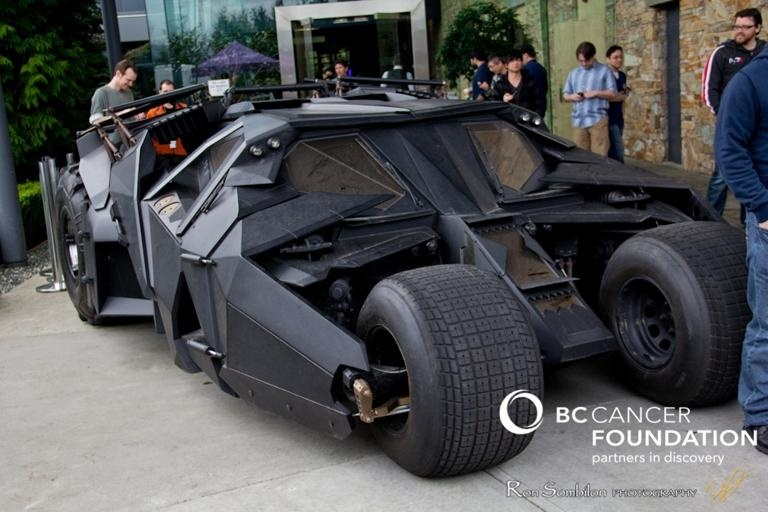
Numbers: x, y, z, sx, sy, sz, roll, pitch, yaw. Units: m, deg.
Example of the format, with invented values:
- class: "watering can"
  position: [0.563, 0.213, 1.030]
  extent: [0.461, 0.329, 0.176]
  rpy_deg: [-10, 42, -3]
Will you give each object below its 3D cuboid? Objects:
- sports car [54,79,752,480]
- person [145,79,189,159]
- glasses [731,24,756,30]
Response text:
- class: "sports car"
  position: [-0.100, -0.045, 5.053]
  extent: [2.844, 1.537, 4.286]
  rpy_deg: [-8, 15, -34]
- class: "person"
  position: [-2.301, -1.381, 6.674]
  extent: [0.368, 0.942, 0.319]
  rpy_deg: [-14, 38, -26]
- class: "glasses"
  position: [4.165, -2.650, 7.147]
  extent: [0.209, 0.087, 0.127]
  rpy_deg: [6, 17, 33]
